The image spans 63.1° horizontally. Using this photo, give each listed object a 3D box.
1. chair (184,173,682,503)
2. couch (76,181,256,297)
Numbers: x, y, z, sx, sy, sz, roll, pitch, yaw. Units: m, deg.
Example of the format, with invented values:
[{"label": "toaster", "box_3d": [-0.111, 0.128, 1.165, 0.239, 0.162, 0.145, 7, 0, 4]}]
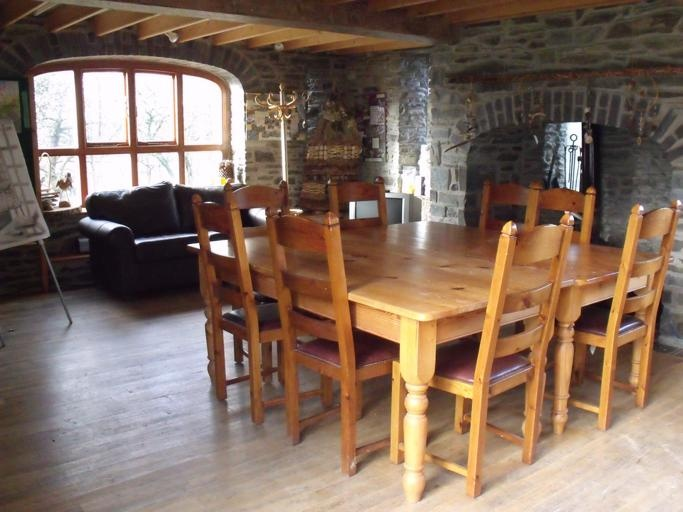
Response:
[{"label": "chair", "box_3d": [0.510, 0.285, 3.472, 2.225, 1.394, 1.752, -6, 18, -19]}, {"label": "couch", "box_3d": [-1.852, -0.239, 6.340, 1.941, 0.989, 0.859, -9, 20, -38]}]
